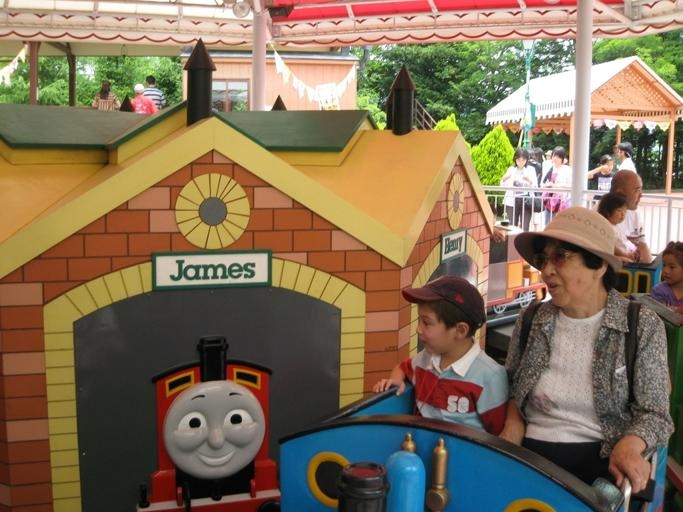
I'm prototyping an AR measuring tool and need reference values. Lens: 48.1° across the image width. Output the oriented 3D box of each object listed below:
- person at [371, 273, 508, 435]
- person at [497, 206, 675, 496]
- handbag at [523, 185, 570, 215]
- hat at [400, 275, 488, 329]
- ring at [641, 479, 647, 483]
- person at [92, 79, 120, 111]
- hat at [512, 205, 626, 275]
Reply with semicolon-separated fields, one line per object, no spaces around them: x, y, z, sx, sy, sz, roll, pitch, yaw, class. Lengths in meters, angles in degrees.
0.537;0.367;4.040;0.626;1.105;0.746;-1;4;-22;person
1.048;0.399;3.378;0.745;1.211;0.443;0;5;27;person
2.676;-0.728;10.064;0.590;0.402;0.594;4;6;35;handbag
0.518;0.187;3.731;0.423;0.215;0.284;25;-8;-5;hat
1.253;0.929;3.172;0.015;0.020;0.016;9;-9;1;ring
-3.411;-2.351;11.180;0.268;0.460;0.835;-4;6;-20;person
1.029;-0.090;3.540;0.324;0.192;0.352;27;-29;-14;hat
